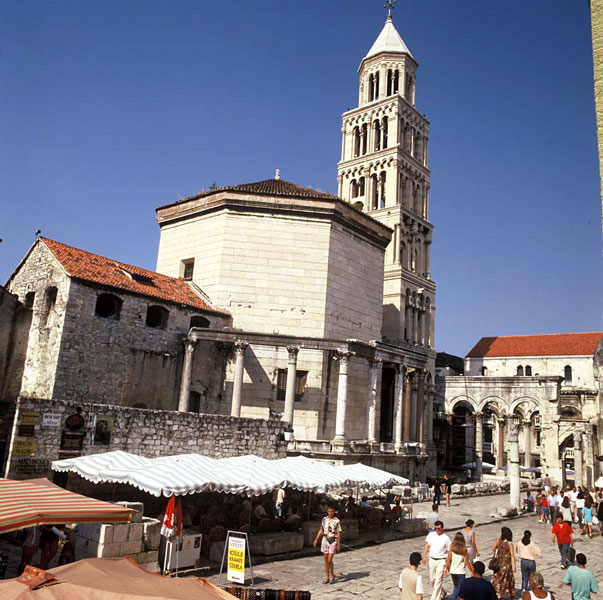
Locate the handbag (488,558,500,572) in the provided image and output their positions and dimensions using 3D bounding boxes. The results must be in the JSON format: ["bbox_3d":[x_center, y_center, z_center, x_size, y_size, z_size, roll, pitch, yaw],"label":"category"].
[{"bbox_3d":[4.363,5.995,13.304,0.232,0.350,0.570,-3,-18,16],"label":"handbag"}]

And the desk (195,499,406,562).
[{"bbox_3d":[0.640,7.581,19.512,1.889,1.205,9.481,-11,-21,36],"label":"desk"}]

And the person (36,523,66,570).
[{"bbox_3d":[-5.281,5.208,12.439,0.507,0.815,0.906,9,-19,-19],"label":"person"}]
